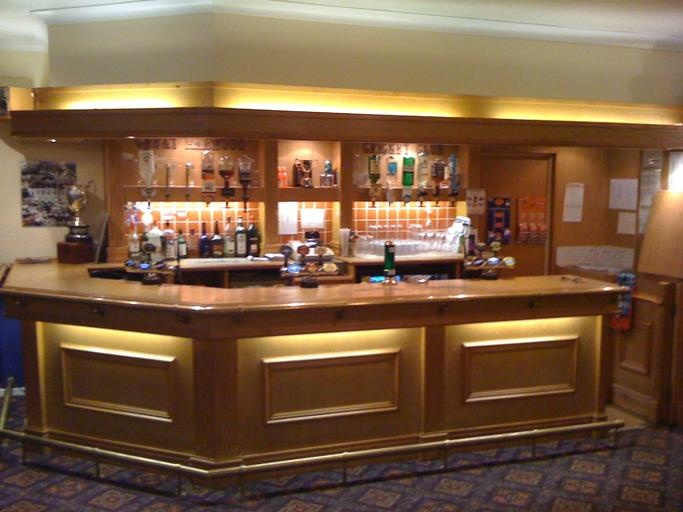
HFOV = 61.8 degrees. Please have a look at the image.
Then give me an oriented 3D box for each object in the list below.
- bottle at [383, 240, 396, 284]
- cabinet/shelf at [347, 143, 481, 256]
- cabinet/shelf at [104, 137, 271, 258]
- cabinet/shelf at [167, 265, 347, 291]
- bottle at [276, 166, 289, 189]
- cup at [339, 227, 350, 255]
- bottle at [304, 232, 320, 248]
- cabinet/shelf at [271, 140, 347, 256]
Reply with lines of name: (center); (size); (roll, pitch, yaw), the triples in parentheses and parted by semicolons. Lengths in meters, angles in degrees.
bottle: (0.453, 0.046, 5.364); (0.089, 0.368, 0.233); (2, 14, 7)
cabinet/shelf: (0.893, -0.757, 7.219); (1.640, 1.304, 0.489); (-1, 3, -9)
cabinet/shelf: (-1.852, -0.656, 6.873); (2.227, 1.644, 0.533); (4, 4, 20)
cabinet/shelf: (-0.978, 0.233, 6.617); (1.851, 0.253, 0.351); (-1, 13, -9)
bottle: (-0.720, -0.988, 7.066); (0.130, 0.253, 0.337); (-1, 13, -5)
cup: (0.037, -0.184, 7.067); (0.122, 0.337, 0.100); (0, 14, -2)
bottle: (-0.373, -0.212, 7.156); (0.223, 0.181, 0.209); (4, 4, 10)
cabinet/shelf: (-0.479, -0.771, 7.180); (0.945, 1.323, 0.581); (0, 14, -3)
